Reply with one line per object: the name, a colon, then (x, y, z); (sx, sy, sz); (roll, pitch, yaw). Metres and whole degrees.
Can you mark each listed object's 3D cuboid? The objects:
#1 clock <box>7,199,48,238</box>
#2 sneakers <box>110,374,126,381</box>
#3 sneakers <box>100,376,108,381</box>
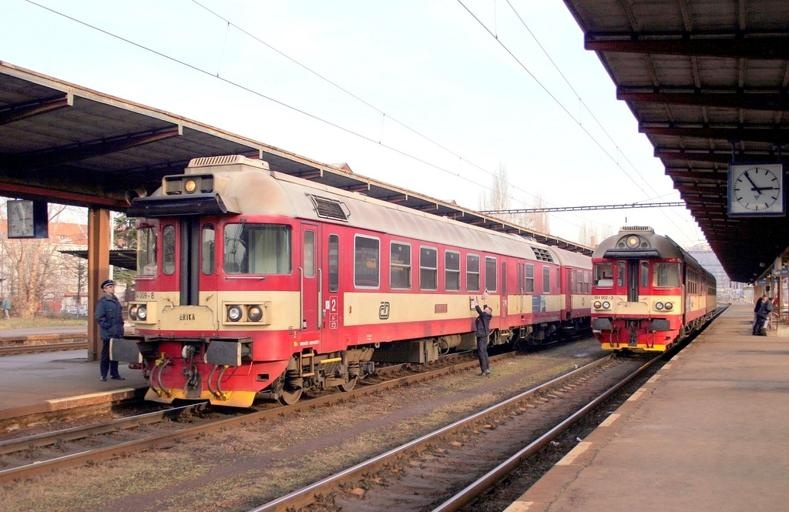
clock: (-10.332, -1.101, 18.866); (1.239, 1.028, 0.638); (-2, -4, 21)
sneakers: (-6.758, 2.960, 16.395); (0.398, 0.144, 0.123); (-3, -3, 17)
sneakers: (-6.996, 2.944, 16.115); (0.086, 0.087, 0.220); (5, -19, -27)
